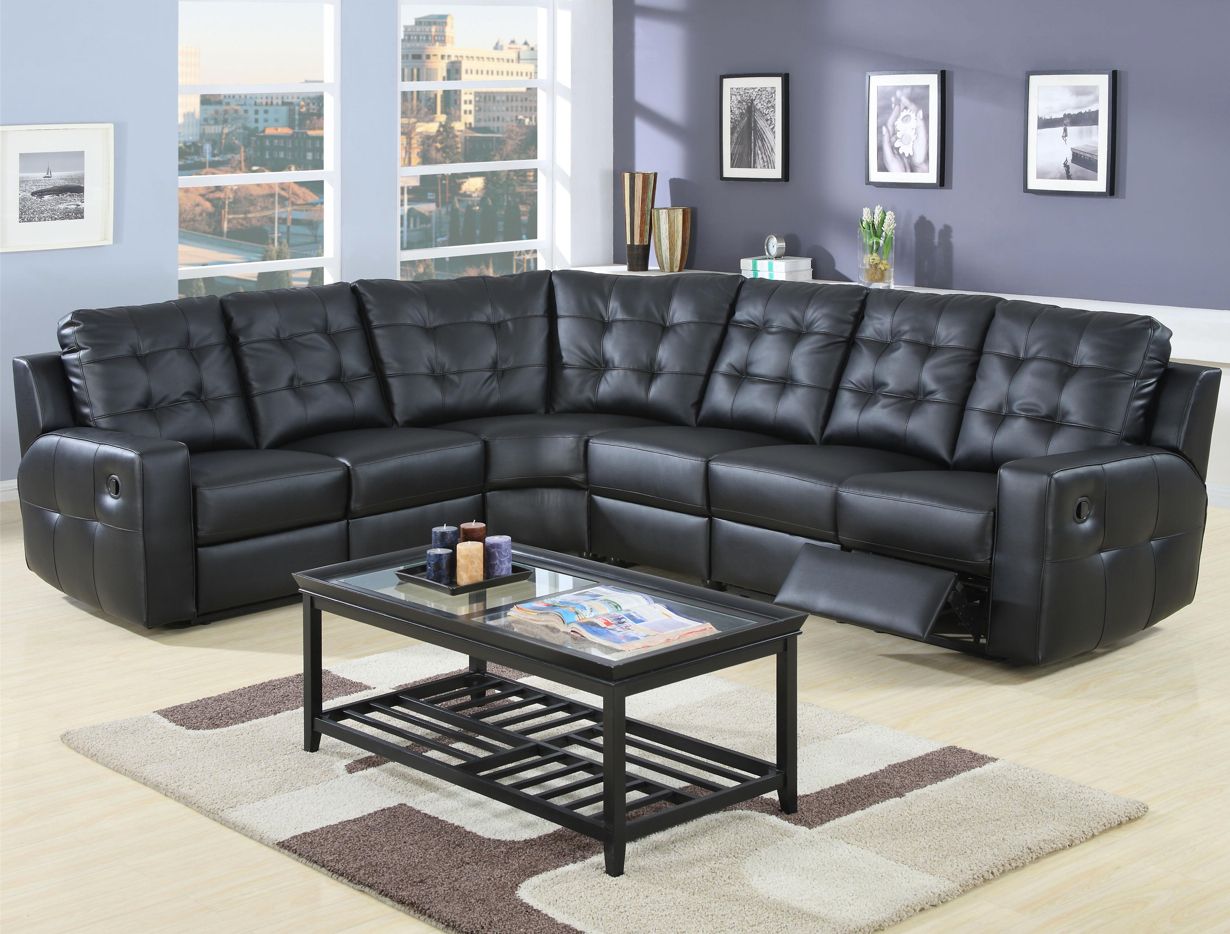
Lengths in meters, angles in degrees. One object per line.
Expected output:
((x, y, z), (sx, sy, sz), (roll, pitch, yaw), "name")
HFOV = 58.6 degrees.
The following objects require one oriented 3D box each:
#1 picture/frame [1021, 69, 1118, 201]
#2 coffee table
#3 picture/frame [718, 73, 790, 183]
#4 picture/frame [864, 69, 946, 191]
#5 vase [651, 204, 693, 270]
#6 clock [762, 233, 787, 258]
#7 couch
((2.494, -1.850, 6.059), (0.091, 0.672, 0.521), (-14, 19, -42), "picture/frame")
((-0.115, 0.612, 2.766), (1.479, 0.490, 0.806), (9, 12, 44), "coffee table")
((0.925, -2.265, 7.306), (0.565, 0.703, 0.109), (10, 18, 37), "picture/frame")
((1.754, -2.059, 6.675), (0.138, 0.696, 0.539), (-14, 19, -42), "picture/frame")
((0.364, -1.565, 7.477), (0.227, 0.424, 0.306), (7, 15, 26), "vase")
((1.030, -1.469, 7.217), (0.240, 0.170, 0.151), (-1, 11, -4), "clock")
((-0.171, -0.090, 4.308), (3.031, 0.752, 2.738), (9, 11, 44), "couch")
